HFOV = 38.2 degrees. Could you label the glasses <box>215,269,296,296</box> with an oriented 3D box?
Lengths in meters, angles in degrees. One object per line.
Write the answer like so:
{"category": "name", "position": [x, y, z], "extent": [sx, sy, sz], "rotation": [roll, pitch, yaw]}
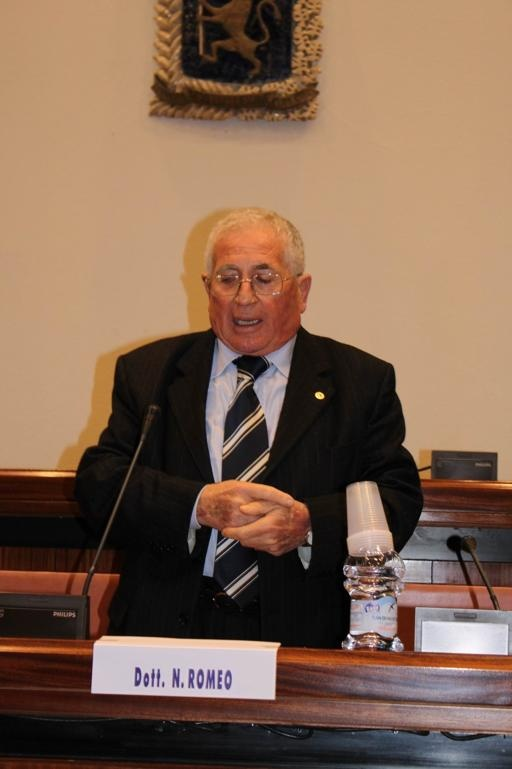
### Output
{"category": "glasses", "position": [-0.013, -0.212, 1.522], "extent": [0.082, 0.026, 0.083], "rotation": [-1, -11, 3]}

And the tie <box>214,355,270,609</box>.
{"category": "tie", "position": [-0.023, 0.169, 1.454], "extent": [0.103, 0.444, 0.262], "rotation": [0, 4, 1]}
